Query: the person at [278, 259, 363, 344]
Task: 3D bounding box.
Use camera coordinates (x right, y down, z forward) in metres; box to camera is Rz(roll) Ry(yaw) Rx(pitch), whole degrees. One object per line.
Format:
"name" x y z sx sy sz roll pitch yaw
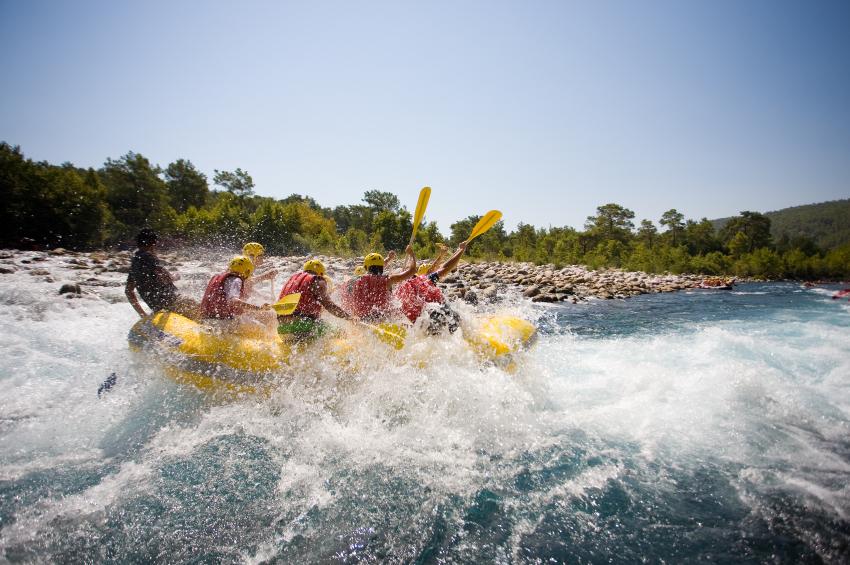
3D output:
"person" -1.679 0.292 8.131 1.635 1.244 1.115 13 9 29

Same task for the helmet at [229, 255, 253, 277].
"helmet" -3.045 -0.265 8.338 0.293 0.339 0.374 5 -27 -36

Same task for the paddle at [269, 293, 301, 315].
"paddle" -2.125 0.313 7.777 0.472 0.364 0.232 2 12 13

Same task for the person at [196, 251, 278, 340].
"person" -2.979 0.220 8.350 1.536 1.323 0.986 9 4 -38

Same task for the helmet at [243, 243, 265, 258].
"helmet" -3.153 -0.590 9.234 0.316 0.251 0.317 11 20 -1

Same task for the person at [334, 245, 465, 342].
"person" -0.581 0.110 8.497 1.550 1.072 2.202 38 15 21
